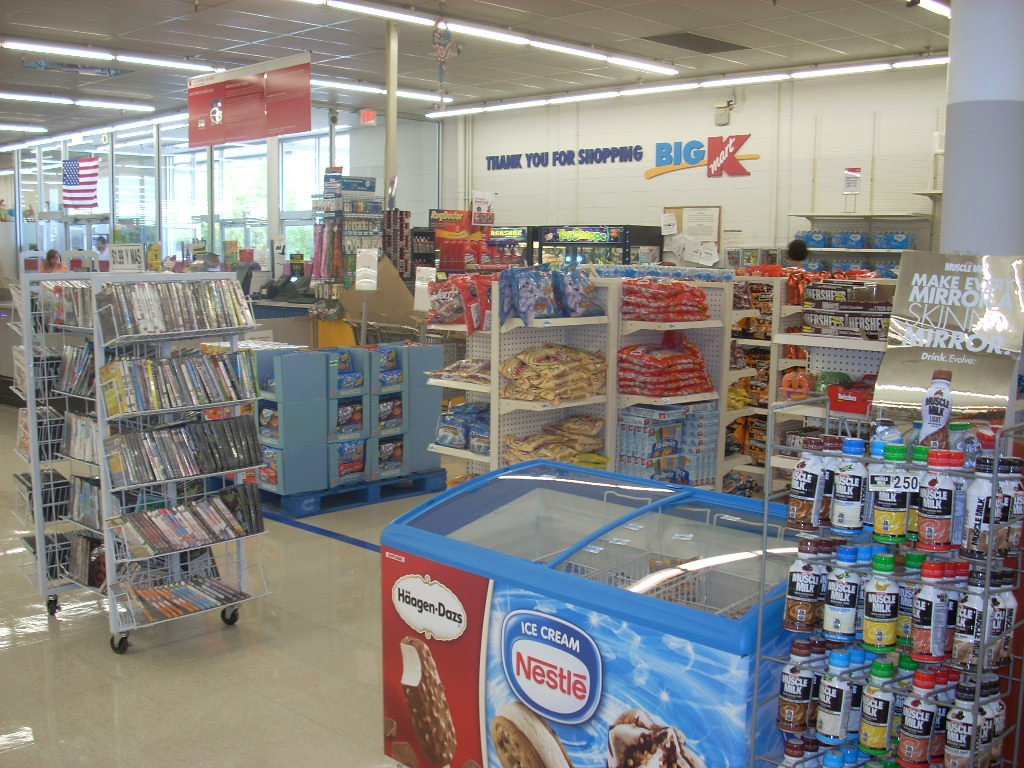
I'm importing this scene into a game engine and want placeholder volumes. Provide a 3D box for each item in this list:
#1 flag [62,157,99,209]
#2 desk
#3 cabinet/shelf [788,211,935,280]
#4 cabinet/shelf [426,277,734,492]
[{"bbox_3d":[-10.019,-4.645,19.470,1.603,1.345,0.130,4,5,25],"label":"flag"},{"bbox_3d":[-1.584,0.428,7.302,0.704,1.255,1.686,-9,-2,25],"label":"desk"},{"bbox_3d":[5.002,-2.078,12.253,1.120,0.818,1.815,-9,15,-38],"label":"cabinet/shelf"},{"bbox_3d":[0.434,-0.028,6.448,1.899,1.654,1.913,-5,9,-38],"label":"cabinet/shelf"}]
